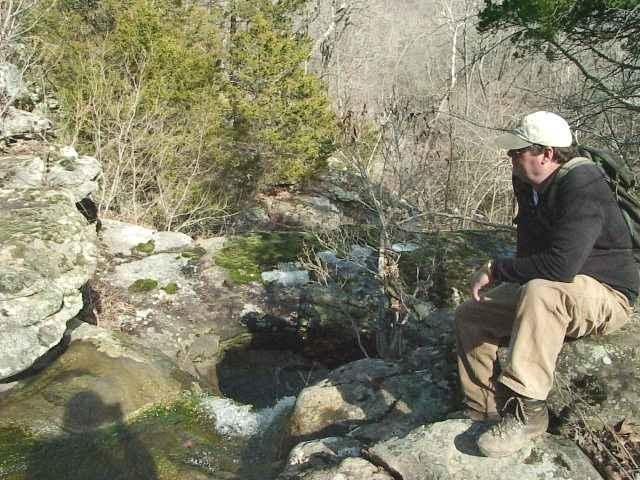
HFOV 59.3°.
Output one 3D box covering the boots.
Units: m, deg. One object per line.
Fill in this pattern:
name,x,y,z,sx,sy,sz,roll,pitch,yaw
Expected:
boots,1.930,1.908,5.636,0.890,0.742,0.365,-8,26,6
